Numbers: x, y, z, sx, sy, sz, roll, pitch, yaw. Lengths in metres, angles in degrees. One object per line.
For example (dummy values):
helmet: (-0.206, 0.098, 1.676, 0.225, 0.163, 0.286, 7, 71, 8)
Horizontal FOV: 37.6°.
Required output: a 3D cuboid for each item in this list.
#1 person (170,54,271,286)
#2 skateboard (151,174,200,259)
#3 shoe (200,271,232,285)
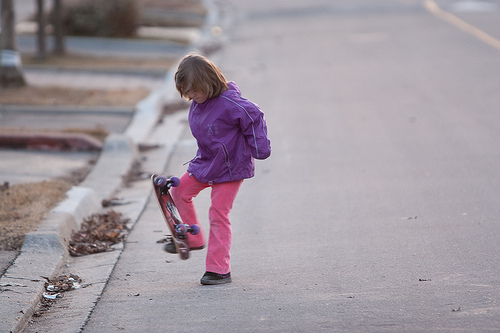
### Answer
person: (-0.360, 0.046, 8.085, 0.746, 2.490, 0.838, -11, 18, -39)
skateboard: (-0.824, 0.568, 8.195, 0.335, 1.126, 0.218, -11, -20, -48)
shoe: (-0.380, 1.232, 8.163, 0.370, 0.126, 0.118, 3, 4, -10)
